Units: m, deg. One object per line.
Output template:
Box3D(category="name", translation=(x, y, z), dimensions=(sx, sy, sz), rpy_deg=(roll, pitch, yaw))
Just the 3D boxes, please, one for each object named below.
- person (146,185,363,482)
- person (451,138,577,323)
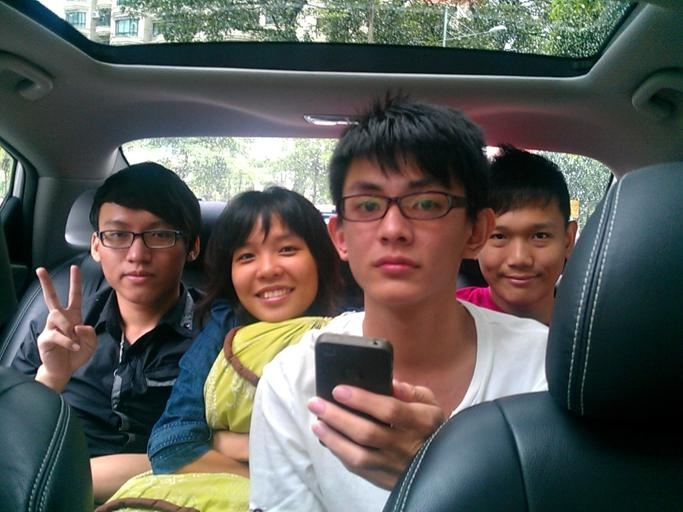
Box3D(category="person", translation=(-0.249, 0.318, 2.330), dimensions=(0.659, 1.075, 0.452), rpy_deg=(1, -22, 24))
Box3D(category="person", translation=(0.801, -0.049, 2.396), dimensions=(0.669, 0.731, 0.558), rpy_deg=(0, 9, 7))
